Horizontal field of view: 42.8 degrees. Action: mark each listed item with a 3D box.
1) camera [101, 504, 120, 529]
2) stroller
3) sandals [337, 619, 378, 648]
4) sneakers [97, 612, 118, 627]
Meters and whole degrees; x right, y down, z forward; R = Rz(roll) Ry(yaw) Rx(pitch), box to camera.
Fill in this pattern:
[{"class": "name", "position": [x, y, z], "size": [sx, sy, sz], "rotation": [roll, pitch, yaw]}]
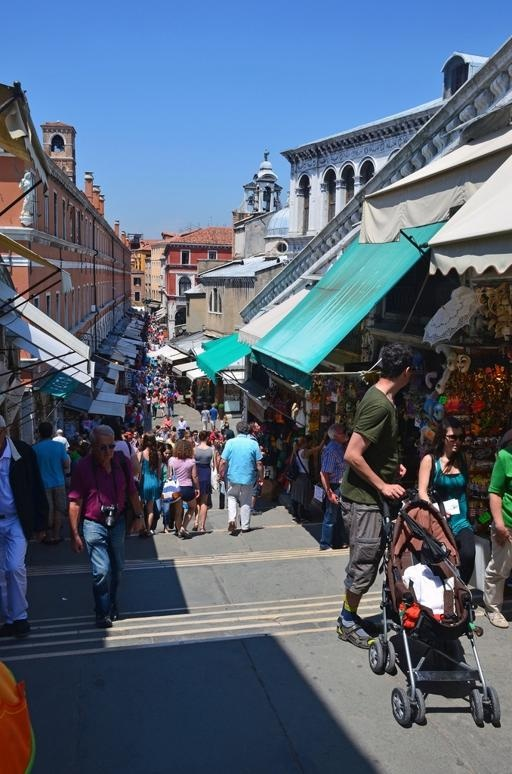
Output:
[{"class": "camera", "position": [-1.114, 0.981, 4.902], "size": [0.141, 0.146, 0.060], "rotation": [-5, -7, 1]}, {"class": "stroller", "position": [0.778, 1.233, 3.662], "size": [0.447, 0.837, 1.176], "rotation": [3, -9, -3]}, {"class": "sandals", "position": [0.625, 1.558, 4.147], "size": [0.113, 0.111, 0.238], "rotation": [0, -4, -25]}, {"class": "sneakers", "position": [-1.070, 1.724, 4.783], "size": [0.182, 0.073, 0.057], "rotation": [0, 10, -19]}]
